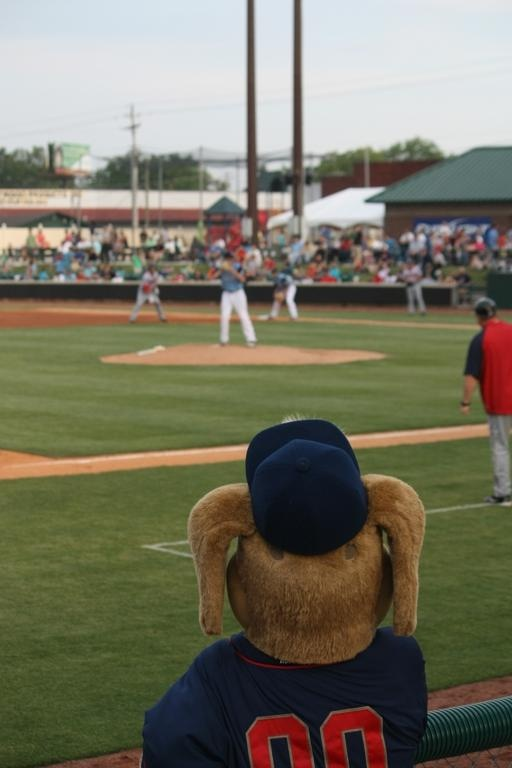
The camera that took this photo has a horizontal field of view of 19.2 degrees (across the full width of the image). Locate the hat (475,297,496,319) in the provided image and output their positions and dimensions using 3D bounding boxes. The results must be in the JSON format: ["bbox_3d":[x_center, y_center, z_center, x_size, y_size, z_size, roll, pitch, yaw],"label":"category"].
[{"bbox_3d":[1.172,-0.406,7.743,0.072,0.102,0.119,5,36,4],"label":"hat"}]

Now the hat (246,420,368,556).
[{"bbox_3d":[0.124,0.255,3.673,0.293,0.299,0.251,-5,10,-1],"label":"hat"}]
